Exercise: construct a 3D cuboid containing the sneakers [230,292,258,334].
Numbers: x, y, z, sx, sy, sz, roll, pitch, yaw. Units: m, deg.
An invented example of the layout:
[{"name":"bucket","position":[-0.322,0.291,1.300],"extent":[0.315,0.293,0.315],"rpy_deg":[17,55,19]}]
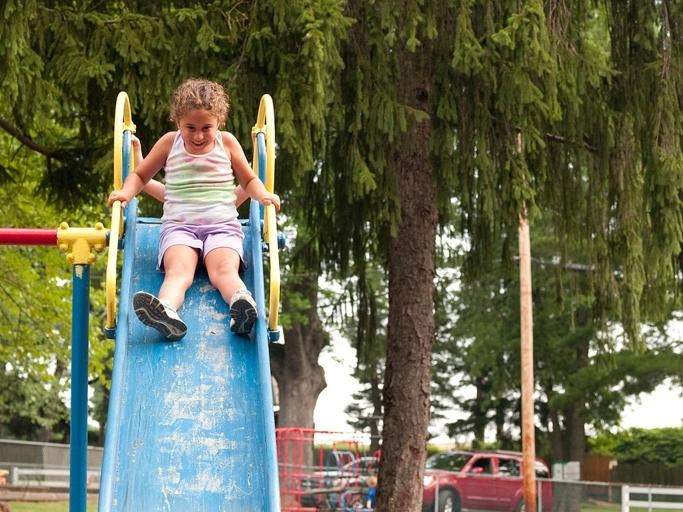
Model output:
[{"name":"sneakers","position":[-1.087,0.659,14.077],"extent":[0.214,0.514,0.216],"rpy_deg":[3,17,0]}]
